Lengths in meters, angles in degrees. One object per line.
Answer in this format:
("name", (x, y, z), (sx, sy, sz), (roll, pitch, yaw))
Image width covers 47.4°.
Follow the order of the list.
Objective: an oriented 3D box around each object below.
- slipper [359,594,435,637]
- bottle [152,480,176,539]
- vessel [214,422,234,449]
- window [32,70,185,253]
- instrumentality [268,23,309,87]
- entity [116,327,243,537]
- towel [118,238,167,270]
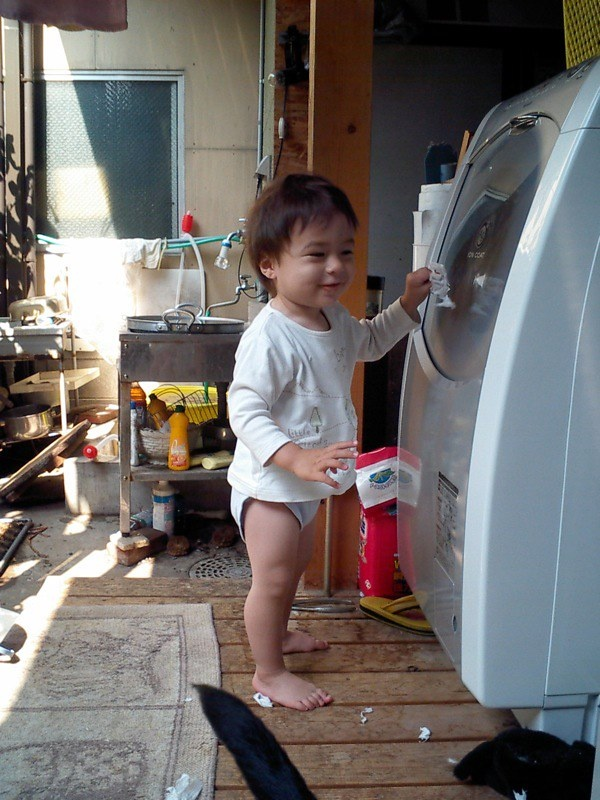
("slipper", (0.242, 0.505, 1.627), (0.137, 0.042, 0.080), (8, 4, 39))
("bottle", (-0.588, 0.466, 2.953), (0.092, 0.303, 0.078), (2, 12, 5))
("vessel", (-0.328, 0.156, 3.033), (0.099, 0.119, 0.096), (4, -9, -17))
("window", (-1.368, -1.753, 4.873), (1.445, 1.439, 0.064), (1, 11, 4))
("instrumentality", (-0.046, -1.735, 3.465), (0.168, 0.271, 0.199), (0, 9, -3))
("entity", (-0.525, 0.104, 2.948), (0.615, 0.779, 0.684), (-4, 6, -22))
("towel", (-1.105, -1.014, 4.729), (0.279, 0.247, 0.112), (1, -1, -9))
